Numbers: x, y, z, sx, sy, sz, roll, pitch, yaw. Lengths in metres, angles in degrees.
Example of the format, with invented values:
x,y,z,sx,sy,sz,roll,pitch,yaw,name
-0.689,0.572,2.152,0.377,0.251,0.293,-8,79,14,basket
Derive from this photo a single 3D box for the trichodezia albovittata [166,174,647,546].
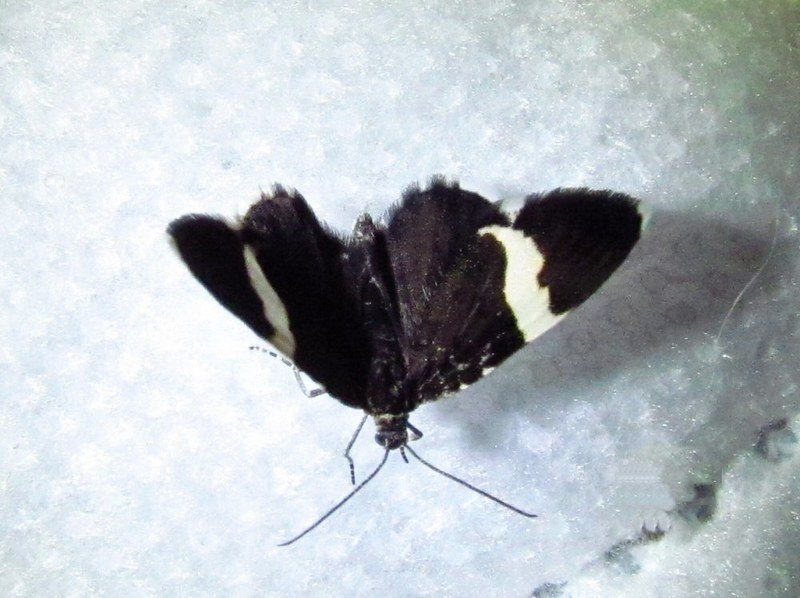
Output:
x,y,z,sx,sy,sz,roll,pitch,yaw,name
0.035,-0.116,1.979,0.700,0.233,0.581,-42,83,-6,trichodezia albovittata
